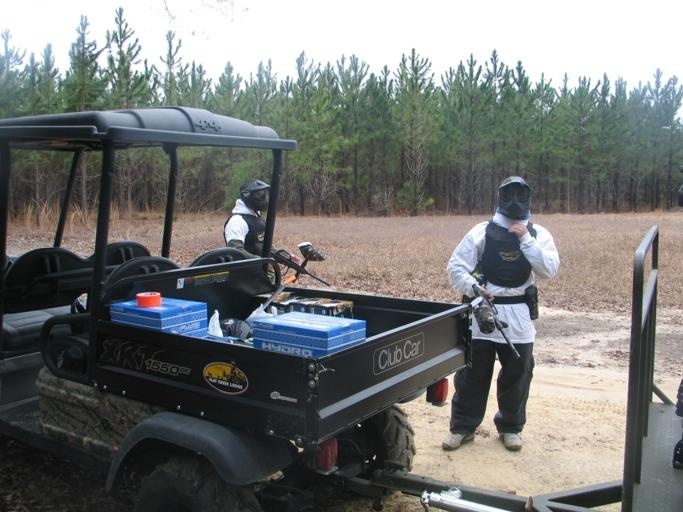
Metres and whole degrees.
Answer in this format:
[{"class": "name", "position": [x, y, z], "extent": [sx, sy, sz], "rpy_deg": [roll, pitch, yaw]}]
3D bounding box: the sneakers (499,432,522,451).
[{"class": "sneakers", "position": [1.632, 1.766, 6.226], "extent": [0.184, 0.130, 0.189], "rpy_deg": [3, 9, 14]}]

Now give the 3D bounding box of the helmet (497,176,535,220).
[{"class": "helmet", "position": [1.667, -0.554, 6.273], "extent": [0.274, 0.452, 0.423], "rpy_deg": [0, -5, 8]}]

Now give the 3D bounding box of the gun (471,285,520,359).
[{"class": "gun", "position": [1.441, 0.604, 6.087], "extent": [0.440, 0.612, 0.448], "rpy_deg": [3, 8, 13]}]

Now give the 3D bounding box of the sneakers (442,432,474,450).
[{"class": "sneakers", "position": [1.128, 1.777, 6.299], "extent": [0.125, 0.166, 0.370], "rpy_deg": [-6, -10, 44]}]
